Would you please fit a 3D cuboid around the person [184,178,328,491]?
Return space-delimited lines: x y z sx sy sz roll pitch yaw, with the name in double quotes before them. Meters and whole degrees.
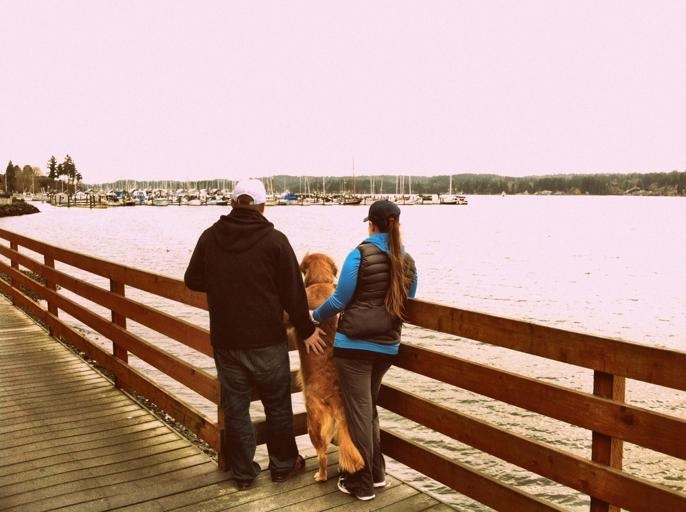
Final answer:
"person" -0.689 0.624 5.464 0.966 2.400 0.488 -4 12 -14

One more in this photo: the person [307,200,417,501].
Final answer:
"person" 0.180 0.725 5.367 0.630 2.280 0.406 -7 13 -28

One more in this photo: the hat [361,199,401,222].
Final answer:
"hat" 0.289 -0.348 5.312 0.254 0.191 0.231 0 12 5

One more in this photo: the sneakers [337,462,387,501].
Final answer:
"sneakers" 0.115 1.779 5.468 0.183 0.180 0.413 -1 5 -16
